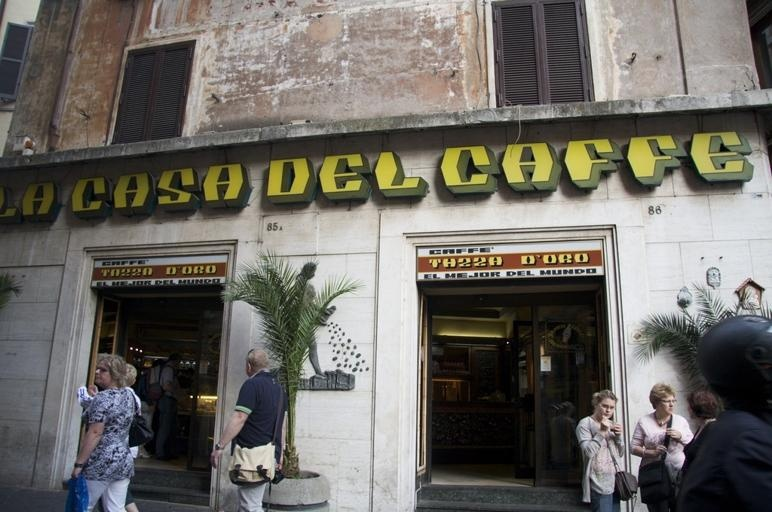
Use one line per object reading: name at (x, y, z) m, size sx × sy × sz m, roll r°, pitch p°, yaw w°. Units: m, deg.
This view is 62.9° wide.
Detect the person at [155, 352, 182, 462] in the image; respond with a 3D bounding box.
person at (-4.145, 2.831, 11.898) m, size 0.412 × 1.955 × 0.242 m, roll 8°, pitch -18°, yaw -21°

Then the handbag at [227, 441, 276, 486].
handbag at (-1.556, 2.557, 7.916) m, size 0.714 × 0.717 × 0.427 m, roll 1°, pitch -21°, yaw -2°
